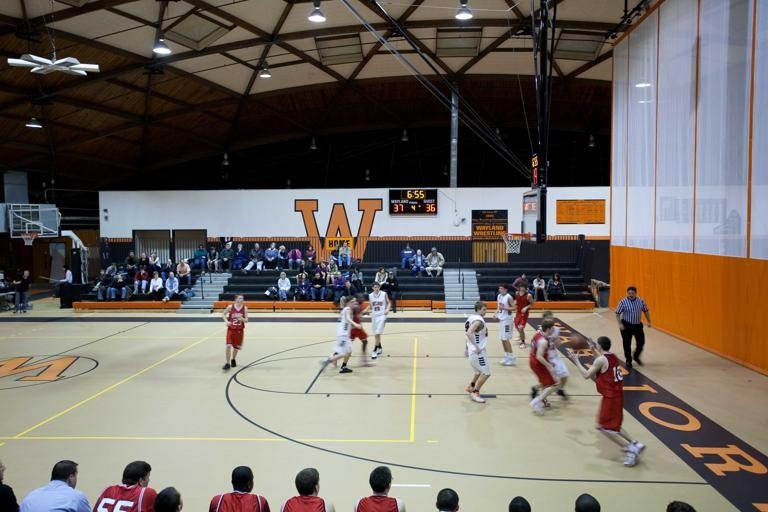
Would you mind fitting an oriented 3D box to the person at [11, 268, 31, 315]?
[{"bbox_3d":[-16.830,1.592,30.107,0.609,1.880,1.468,-4,3,-30],"label":"person"}]

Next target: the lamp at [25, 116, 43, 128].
[{"bbox_3d":[-16.657,-6.419,30.878,0.705,0.457,0.734,-1,10,2],"label":"lamp"}]
